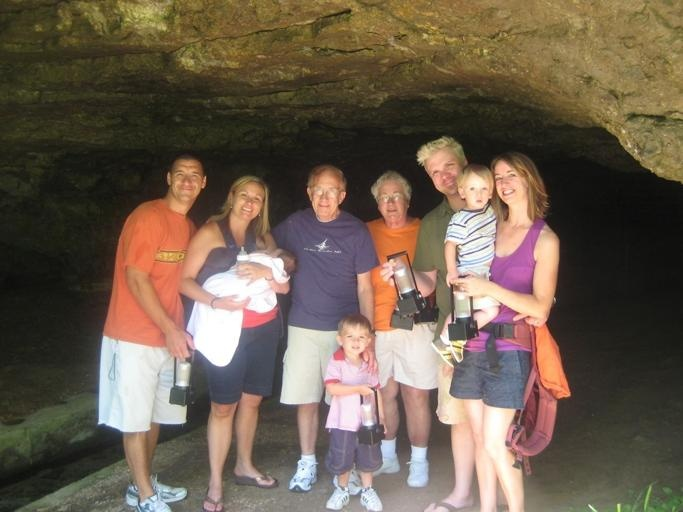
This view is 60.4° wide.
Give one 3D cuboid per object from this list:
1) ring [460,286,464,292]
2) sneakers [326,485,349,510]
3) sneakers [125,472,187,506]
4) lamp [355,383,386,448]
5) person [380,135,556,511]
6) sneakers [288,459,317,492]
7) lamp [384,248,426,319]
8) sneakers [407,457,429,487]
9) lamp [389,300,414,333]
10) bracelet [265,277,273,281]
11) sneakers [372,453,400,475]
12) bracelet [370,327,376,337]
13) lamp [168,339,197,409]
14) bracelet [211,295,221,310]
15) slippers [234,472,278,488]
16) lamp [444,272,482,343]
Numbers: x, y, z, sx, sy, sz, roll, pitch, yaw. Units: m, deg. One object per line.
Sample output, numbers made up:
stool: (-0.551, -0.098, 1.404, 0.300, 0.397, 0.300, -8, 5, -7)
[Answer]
ring: (0.780, 0.215, 3.852, 0.039, 0.028, 0.009, 1, 9, 31)
sneakers: (-0.035, 1.857, 4.497, 0.094, 0.104, 0.246, 3, -12, 19)
sneakers: (-1.392, 1.851, 4.621, 0.574, 0.240, 0.187, 3, 43, -18)
lamp: (0.207, 1.188, 4.428, 0.187, 0.397, 0.166, -7, -12, 21)
person: (1.107, 0.622, 3.975, 0.752, 2.621, 0.540, -3, 7, 1)
sneakers: (-0.312, 1.785, 4.739, 0.142, 0.132, 0.312, 1, -10, 9)
lamp: (0.464, 0.200, 4.336, 0.184, 0.417, 0.160, -18, 11, 6)
sneakers: (0.619, 1.762, 4.803, 0.131, 0.090, 0.239, 0, 12, 9)
lamp: (0.451, 0.451, 4.444, 0.215, 0.183, 0.196, 4, 8, 9)
bracelet: (-0.540, 0.168, 4.442, 0.058, 0.033, 0.034, -4, 7, -13)
sneakers: (0.405, 1.770, 5.019, 0.313, 0.118, 0.109, 1, -1, -22)
bracelet: (0.243, 0.594, 4.625, 0.070, 0.065, 0.021, 0, -12, -27)
lamp: (-1.209, 0.942, 4.418, 0.213, 0.458, 0.236, -3, 7, 2)
bracelet: (-0.927, 0.340, 4.347, 0.071, 0.087, 0.036, 6, 28, -2)
slippers: (-0.689, 1.809, 4.802, 0.244, 0.059, 0.135, -1, -1, 9)
lamp: (0.814, 0.394, 3.930, 0.194, 0.398, 0.230, -1, 7, 13)
